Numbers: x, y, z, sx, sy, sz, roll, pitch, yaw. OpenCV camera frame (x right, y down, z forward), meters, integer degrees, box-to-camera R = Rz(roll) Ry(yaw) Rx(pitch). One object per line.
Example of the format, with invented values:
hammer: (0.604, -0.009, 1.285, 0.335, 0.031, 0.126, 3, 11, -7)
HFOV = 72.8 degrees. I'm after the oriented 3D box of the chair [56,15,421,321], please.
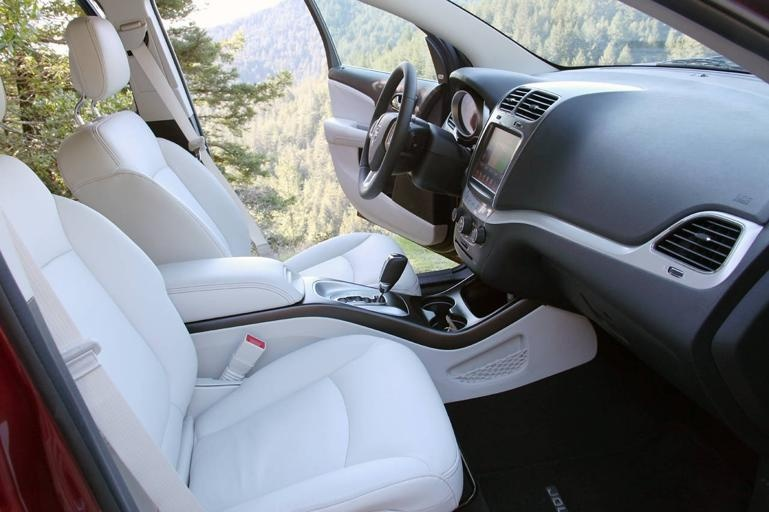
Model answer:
chair: (-0.520, -0.320, 1.830, 0.899, 1.096, 0.581, -6, 19, -3)
